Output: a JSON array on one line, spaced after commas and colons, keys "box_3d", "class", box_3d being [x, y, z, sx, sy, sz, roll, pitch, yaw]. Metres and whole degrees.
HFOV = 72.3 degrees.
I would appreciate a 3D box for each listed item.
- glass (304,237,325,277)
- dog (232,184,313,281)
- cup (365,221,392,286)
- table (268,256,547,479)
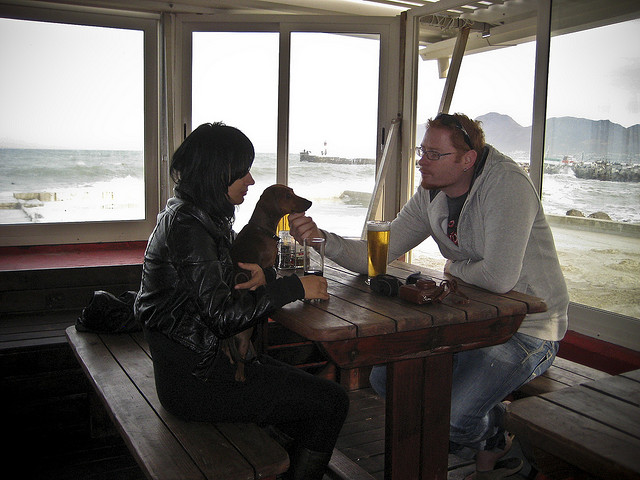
[{"box_3d": [-0.023, 0.081, 1.897, 0.098, 0.164, 0.098, 0, -2, 11], "class": "glass"}, {"box_3d": [-0.210, 0.003, 1.750, 0.296, 0.477, 0.163, 11, 26, 5], "class": "dog"}, {"box_3d": [0.234, 0.059, 1.783, 0.110, 0.289, 0.095, -3, 45, -3], "class": "cup"}, {"box_3d": [0.229, 0.348, 1.871, 0.816, 0.909, 1.048, -5, 14, -21], "class": "table"}]
